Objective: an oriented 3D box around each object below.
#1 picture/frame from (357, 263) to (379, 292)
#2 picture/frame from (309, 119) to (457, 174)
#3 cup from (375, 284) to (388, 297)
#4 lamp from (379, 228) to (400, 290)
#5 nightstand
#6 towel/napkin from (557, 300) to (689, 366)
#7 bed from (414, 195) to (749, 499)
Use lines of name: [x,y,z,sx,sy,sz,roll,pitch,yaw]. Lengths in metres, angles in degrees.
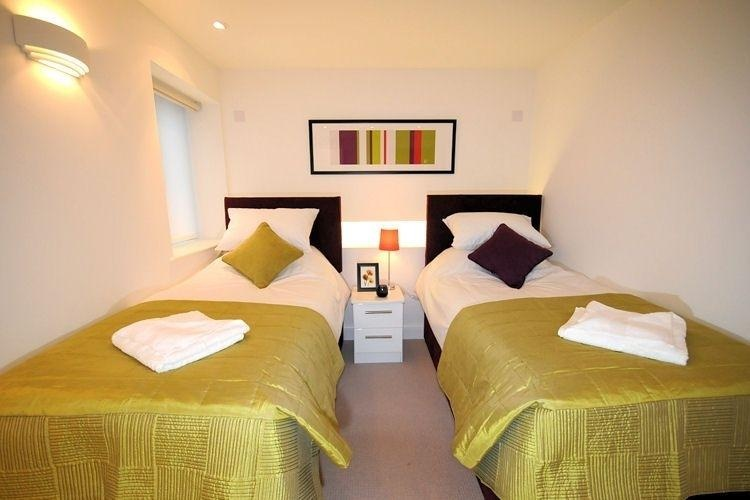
picture/frame: [-0.063,0.250,4.747,0.249,0.300,0.020,-1,5,-6]
picture/frame: [0.079,-0.969,4.983,1.366,0.539,0.023,0,25,-1]
cup: [0.065,0.361,4.633,0.103,0.094,0.101,1,12,0]
lamp: [0.137,0.067,4.949,0.197,0.546,0.482,0,11,2]
nightstand: [0.012,0.718,4.804,0.543,0.554,0.636,0,-2,-10]
towel/napkin: [1.583,0.516,3.373,0.740,0.225,0.408,4,11,23]
bed: [1.214,0.502,4.064,1.292,1.544,2.445,0,20,-2]
